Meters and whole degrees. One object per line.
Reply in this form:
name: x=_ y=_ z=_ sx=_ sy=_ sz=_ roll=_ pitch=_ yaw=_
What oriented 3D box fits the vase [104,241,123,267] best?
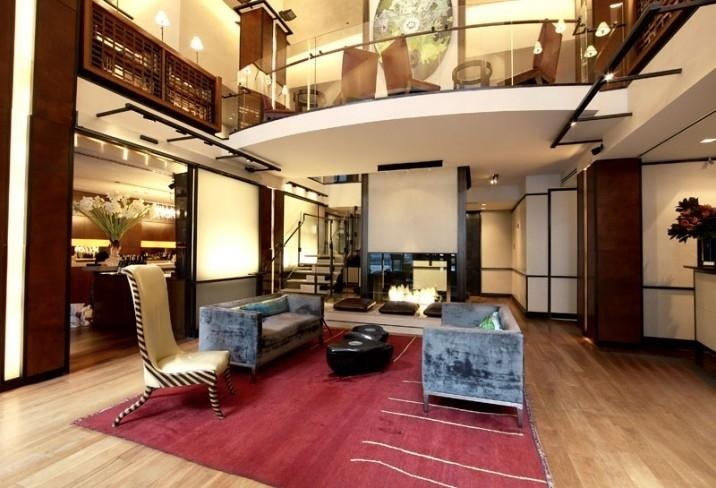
vase: x=-4.934 y=0.205 z=9.604 sx=0.299 sy=0.663 sz=0.467 roll=1 pitch=5 yaw=-40

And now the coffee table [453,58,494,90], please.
coffee table: x=1.866 y=-2.820 z=8.062 sx=0.616 sy=0.700 sz=0.620 roll=-2 pitch=21 yaw=-3

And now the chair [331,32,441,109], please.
chair: x=0.650 y=-2.841 z=8.419 sx=1.310 sy=1.569 sz=1.298 roll=9 pitch=18 yaw=38

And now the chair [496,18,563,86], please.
chair: x=2.711 y=-2.933 z=7.935 sx=1.022 sy=1.351 sz=0.746 roll=-12 pitch=15 yaw=-7

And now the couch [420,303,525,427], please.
couch: x=1.767 y=1.596 z=7.323 sx=1.375 sy=1.042 sz=2.489 roll=3 pitch=4 yaw=15

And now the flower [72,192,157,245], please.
flower: x=-4.567 y=-0.322 z=8.952 sx=1.144 sy=0.822 sz=1.128 roll=-2 pitch=-11 yaw=-8
